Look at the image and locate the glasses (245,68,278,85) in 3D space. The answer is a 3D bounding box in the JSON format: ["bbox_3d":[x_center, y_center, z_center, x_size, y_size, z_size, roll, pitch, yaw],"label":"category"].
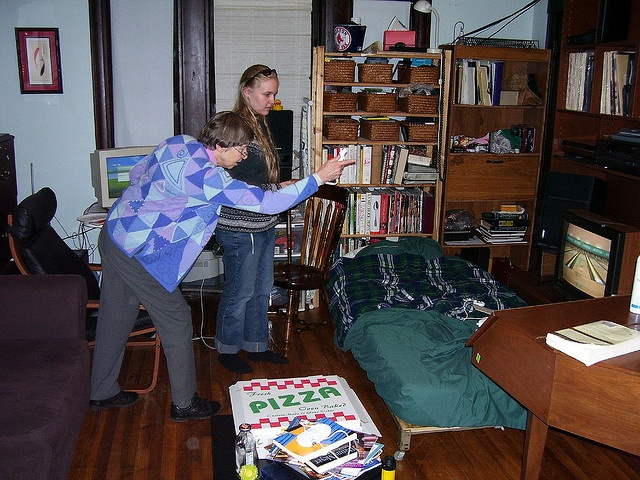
[{"bbox_3d":[-0.358,-0.970,2.793,0.135,0.040,0.129,-12,2,32],"label":"glasses"}]

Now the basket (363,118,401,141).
[{"bbox_3d":[0.500,-0.894,3.931,0.227,0.136,0.224,0,12,-6],"label":"basket"}]

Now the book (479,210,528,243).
[{"bbox_3d":[1.802,-0.116,4.608,0.357,0.117,0.342,-2,15,-11],"label":"book"}]

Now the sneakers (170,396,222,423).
[{"bbox_3d":[-0.692,0.958,2.737,0.323,0.160,0.123,-3,14,-18],"label":"sneakers"}]

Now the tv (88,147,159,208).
[{"bbox_3d":[-1.288,-0.421,3.120,0.497,0.422,0.263,-8,22,-27],"label":"tv"}]

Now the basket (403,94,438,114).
[{"bbox_3d":[0.824,-1.100,3.859,0.162,0.101,0.218,3,10,6],"label":"basket"}]

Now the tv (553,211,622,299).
[{"bbox_3d":[2.004,0.127,3.554,0.337,0.582,0.605,0,13,-6],"label":"tv"}]

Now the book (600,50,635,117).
[{"bbox_3d":[2.281,-1.191,3.604,0.144,0.484,0.309,-2,14,2],"label":"book"}]

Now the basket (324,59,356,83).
[{"bbox_3d":[0.158,-1.316,3.713,0.202,0.123,0.200,1,15,0],"label":"basket"}]

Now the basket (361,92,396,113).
[{"bbox_3d":[0.478,-1.105,3.876,0.188,0.116,0.242,-1,17,-7],"label":"basket"}]

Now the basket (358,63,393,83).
[{"bbox_3d":[0.450,-1.315,3.826,0.193,0.112,0.194,0,16,-2],"label":"basket"}]

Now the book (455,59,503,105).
[{"bbox_3d":[1.437,-1.423,4.292,0.461,0.415,0.140,-7,14,-17],"label":"book"}]

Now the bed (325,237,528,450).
[{"bbox_3d":[0.557,0.527,2.998,0.864,0.343,1.266,-2,18,-7],"label":"bed"}]
